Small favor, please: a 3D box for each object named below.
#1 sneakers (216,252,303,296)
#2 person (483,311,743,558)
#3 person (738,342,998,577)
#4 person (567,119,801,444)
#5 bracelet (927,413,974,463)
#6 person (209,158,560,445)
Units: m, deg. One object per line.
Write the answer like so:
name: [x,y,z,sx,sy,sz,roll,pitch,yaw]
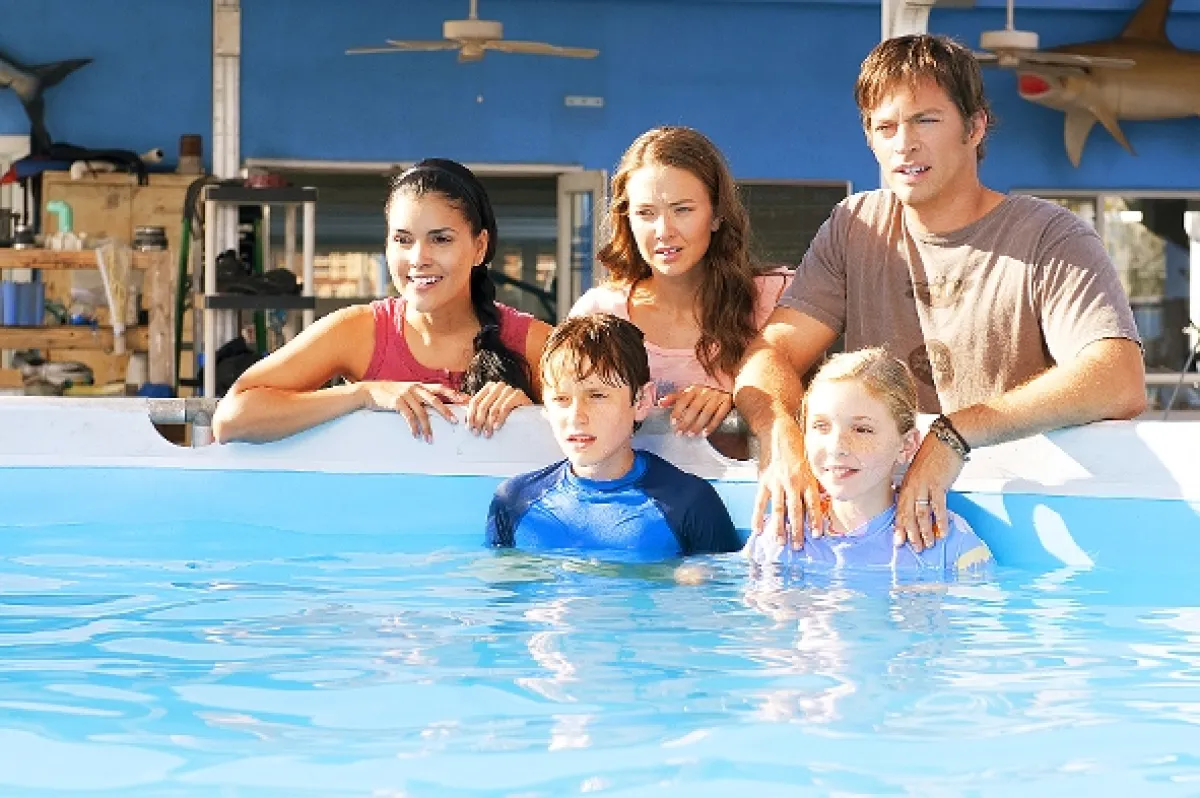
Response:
sneakers: [-1.806,-0.689,9.116,0.602,0.225,0.198,-1,8,6]
person: [0.042,0.161,5.777,0.844,0.783,0.411,-1,-4,9]
person: [0.888,0.201,5.567,0.897,0.755,0.470,3,5,38]
person: [0.379,-0.411,6.468,1.221,1.535,1.063,-1,-2,11]
bracelet: [1.160,0.122,5.448,0.143,0.054,0.123,46,-2,-26]
person: [-0.672,-0.326,6.093,1.455,1.005,0.820,-1,6,-6]
